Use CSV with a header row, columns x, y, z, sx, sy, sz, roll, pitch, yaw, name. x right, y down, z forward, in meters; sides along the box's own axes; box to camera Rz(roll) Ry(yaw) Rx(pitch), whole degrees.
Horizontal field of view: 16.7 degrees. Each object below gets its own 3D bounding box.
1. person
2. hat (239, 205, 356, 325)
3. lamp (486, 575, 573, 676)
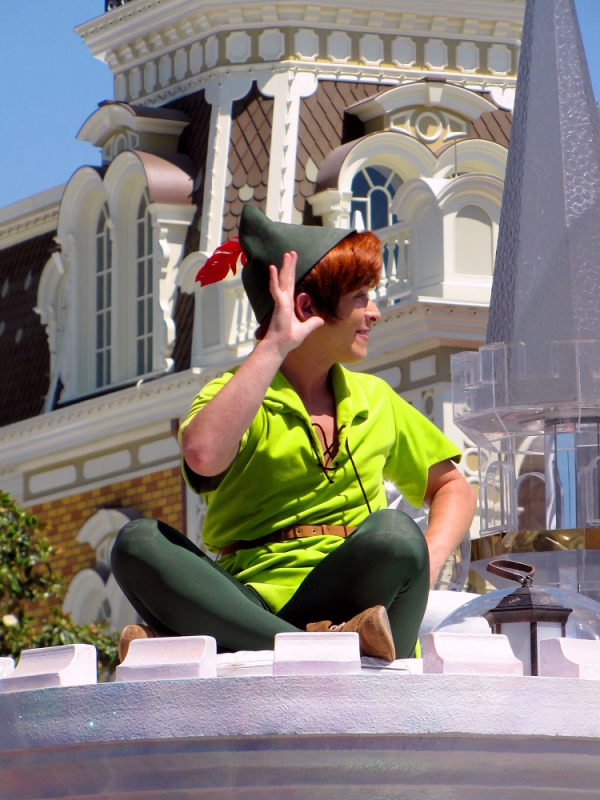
x,y,z,sx,sy,sz,roll,pitch,yaw,name
-0.008,0.048,4.272,0.684,0.975,0.940,0,-4,9,person
-0.048,-0.345,4.423,0.230,0.171,0.162,0,35,33,hat
0.449,0.446,3.980,0.169,0.165,0.233,0,-4,6,lamp
